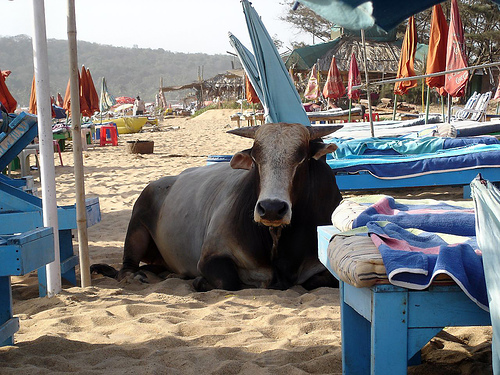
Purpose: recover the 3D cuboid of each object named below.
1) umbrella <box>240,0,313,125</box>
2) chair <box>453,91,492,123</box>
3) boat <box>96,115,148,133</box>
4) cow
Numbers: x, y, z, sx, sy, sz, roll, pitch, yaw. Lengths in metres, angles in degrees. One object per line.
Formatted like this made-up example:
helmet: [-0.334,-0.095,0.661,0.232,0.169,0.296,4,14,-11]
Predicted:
umbrella: [0.373,-1.891,8.332,0.930,1.913,0.764,-2,10,-1]
chair: [5.533,-1.960,13.590,1.403,0.670,0.669,-17,17,-42]
boat: [-6.440,-3.146,28.275,2.727,0.780,0.910,-3,1,37]
cow: [-0.259,0.302,5.553,1.417,1.229,2.542,3,-7,-31]
